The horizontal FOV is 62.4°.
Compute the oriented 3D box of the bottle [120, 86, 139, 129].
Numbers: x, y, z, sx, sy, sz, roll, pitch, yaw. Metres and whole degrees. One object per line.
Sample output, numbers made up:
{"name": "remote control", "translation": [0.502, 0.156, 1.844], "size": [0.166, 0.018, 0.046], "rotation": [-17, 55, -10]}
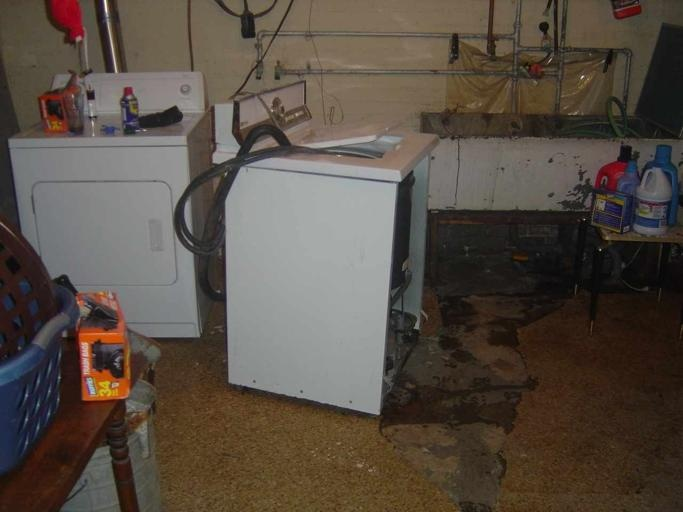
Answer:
{"name": "bottle", "translation": [-1.155, -0.801, 3.061], "size": [0.095, 0.216, 0.283], "rotation": [-9, 23, -19]}

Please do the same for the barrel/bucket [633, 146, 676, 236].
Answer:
{"name": "barrel/bucket", "translation": [1.732, -0.372, 3.079], "size": [0.215, 0.441, 0.375], "rotation": [12, 25, 29]}

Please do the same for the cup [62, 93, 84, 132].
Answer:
{"name": "cup", "translation": [-1.428, -0.772, 3.032], "size": [0.061, 0.196, 0.127], "rotation": [6, 23, 16]}

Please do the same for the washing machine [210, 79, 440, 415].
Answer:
{"name": "washing machine", "translation": [-0.106, -0.071, 2.836], "size": [0.995, 1.442, 0.741], "rotation": [5, 22, 14]}
